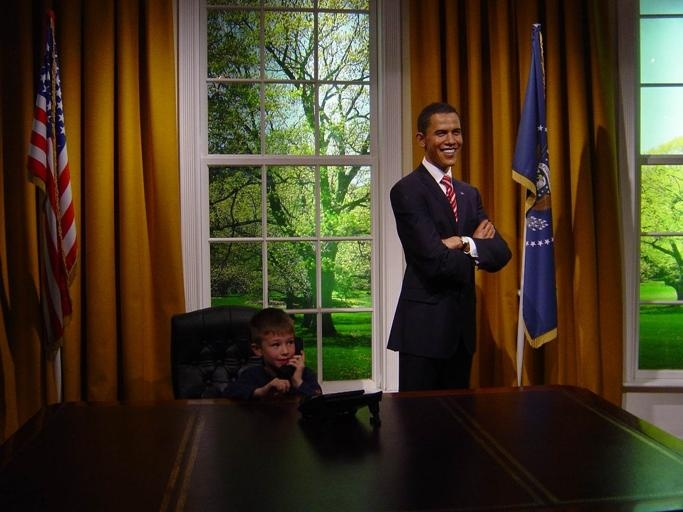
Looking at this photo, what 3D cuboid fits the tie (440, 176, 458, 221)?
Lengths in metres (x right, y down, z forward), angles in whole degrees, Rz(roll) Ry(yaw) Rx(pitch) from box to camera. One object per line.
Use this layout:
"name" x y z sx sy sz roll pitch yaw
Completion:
"tie" 0.509 -0.294 2.952 0.045 0.290 0.028 19 -41 -27

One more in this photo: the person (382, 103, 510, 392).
"person" 0.470 -0.044 2.884 0.544 1.321 0.335 -4 3 -19

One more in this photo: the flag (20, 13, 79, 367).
"flag" -1.460 -0.371 3.174 0.199 1.303 0.172 -4 3 -17

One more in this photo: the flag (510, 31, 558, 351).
"flag" 0.983 -0.288 3.222 0.183 1.502 0.118 -2 3 19

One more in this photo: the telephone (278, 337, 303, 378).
"telephone" -0.194 0.396 2.410 0.024 0.125 0.114 4 7 8

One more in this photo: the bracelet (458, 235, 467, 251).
"bracelet" 0.536 -0.066 2.806 0.032 0.046 0.045 0 -5 -9
